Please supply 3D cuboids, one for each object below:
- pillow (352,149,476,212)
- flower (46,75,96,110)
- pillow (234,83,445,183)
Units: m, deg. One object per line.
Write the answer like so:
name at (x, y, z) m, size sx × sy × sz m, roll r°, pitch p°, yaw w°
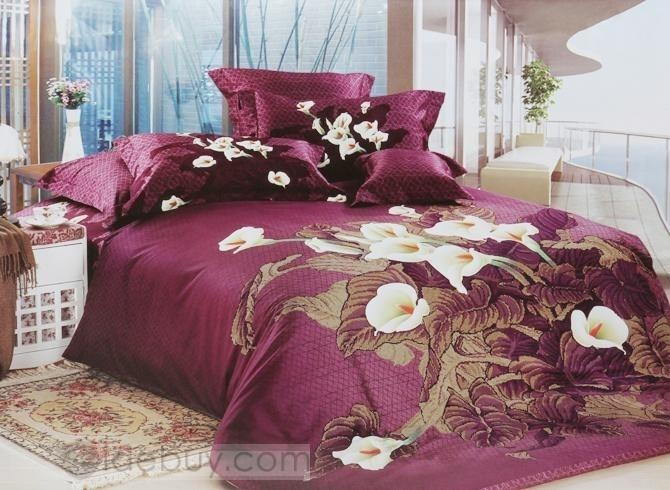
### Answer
pillow at (0.354, -0.312, 2.854) m, size 0.646 × 0.128 × 0.499 m, roll 1°, pitch 25°, yaw -1°
flower at (-1.981, -1.132, 4.400) m, size 0.274 × 0.228 × 0.293 m, roll -5°, pitch 15°, yaw -22°
pillow at (0.042, -0.727, 3.205) m, size 1.255 × 0.240 × 0.594 m, roll 0°, pitch 50°, yaw 1°
